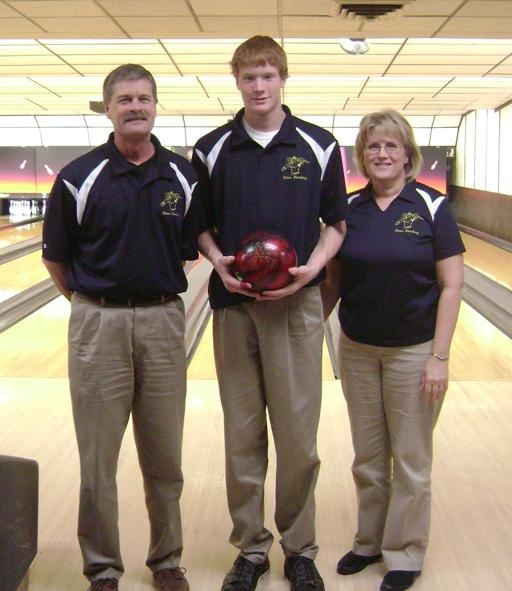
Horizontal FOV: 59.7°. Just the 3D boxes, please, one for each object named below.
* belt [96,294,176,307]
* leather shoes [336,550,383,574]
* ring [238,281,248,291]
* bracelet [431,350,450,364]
[{"bbox_3d":[-0.321,0.019,1.258,0.214,0.030,0.036,-7,14,-30],"label":"belt"},{"bbox_3d":[0.338,0.852,1.466,0.144,0.063,0.054,3,-5,-33],"label":"leather shoes"},{"bbox_3d":[-0.028,-0.021,1.133,0.022,0.028,0.045,0,12,-2],"label":"ring"},{"bbox_3d":[0.562,0.189,1.348,0.030,0.016,0.037,-3,28,-21],"label":"bracelet"}]
